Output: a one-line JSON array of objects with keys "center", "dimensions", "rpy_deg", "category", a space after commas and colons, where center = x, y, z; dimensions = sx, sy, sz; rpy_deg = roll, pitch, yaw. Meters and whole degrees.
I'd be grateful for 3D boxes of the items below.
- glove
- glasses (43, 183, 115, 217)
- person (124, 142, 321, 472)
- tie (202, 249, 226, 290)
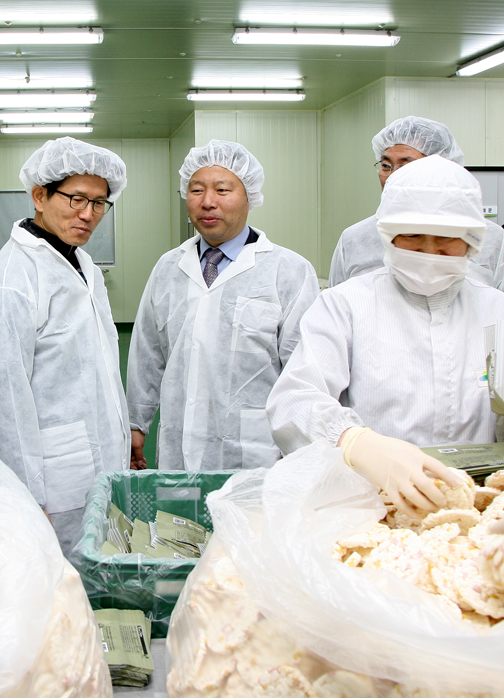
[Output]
[{"center": [0.193, 0.165, 0.897], "dimensions": [0.087, 0.093, 0.225], "rpy_deg": [-5, 3, -20], "category": "glove"}, {"center": [-0.519, -0.428, 1.900], "dimensions": [0.104, 0.030, 0.107], "rpy_deg": [15, 5, 39], "category": "glasses"}, {"center": [-0.140, -0.064, 2.364], "dimensions": [0.701, 1.228, 0.542], "rpy_deg": [-3, 14, -6], "category": "person"}, {"center": [-0.129, -0.272, 2.227], "dimensions": [0.047, 0.159, 0.047], "rpy_deg": [7, -34, 22], "category": "tie"}]
